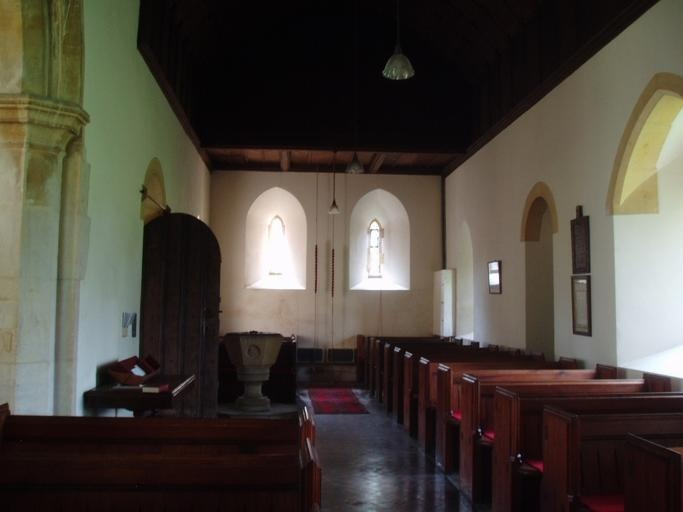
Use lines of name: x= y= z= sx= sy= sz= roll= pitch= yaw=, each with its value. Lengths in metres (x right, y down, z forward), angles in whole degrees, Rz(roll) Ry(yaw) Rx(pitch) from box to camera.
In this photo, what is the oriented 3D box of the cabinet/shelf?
cabinet/shelf: x=-1.538 y=1.657 z=10.658 sx=1.661 sy=1.575 sz=1.003 roll=0 pitch=-2 yaw=-2
